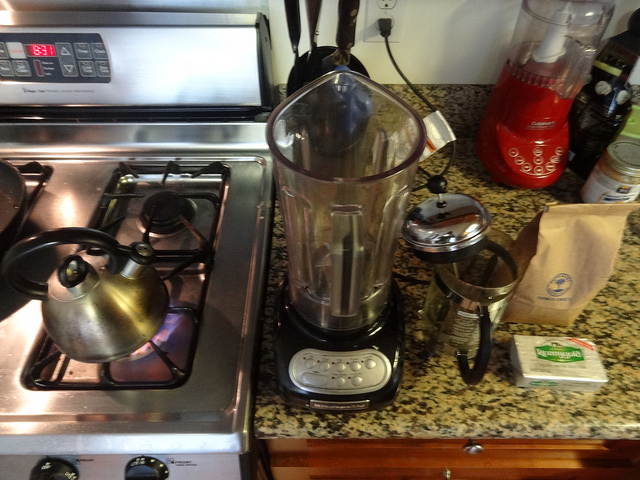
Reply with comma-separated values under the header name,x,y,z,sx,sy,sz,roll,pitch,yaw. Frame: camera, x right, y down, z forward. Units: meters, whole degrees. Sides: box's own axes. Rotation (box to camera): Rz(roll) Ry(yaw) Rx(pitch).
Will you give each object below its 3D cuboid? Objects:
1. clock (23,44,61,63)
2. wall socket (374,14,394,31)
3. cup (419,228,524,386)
name,x,y,z,sx,sy,sz,roll,pitch,yaw
clock,-0.556,-0.378,0.947,0.050,0.025,0.002,1,44,-3
wall socket,0.138,-0.475,1.024,0.041,0.030,0.015,-11,47,-11
cup,0.240,0.141,0.779,0.139,0.194,0.203,5,41,1
